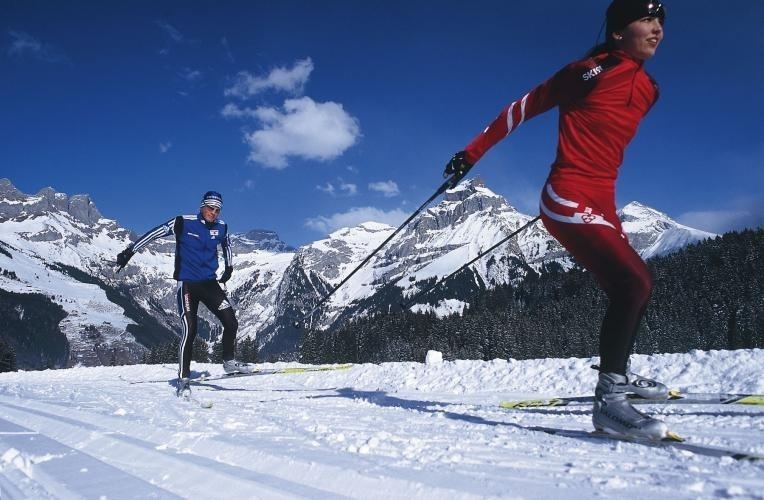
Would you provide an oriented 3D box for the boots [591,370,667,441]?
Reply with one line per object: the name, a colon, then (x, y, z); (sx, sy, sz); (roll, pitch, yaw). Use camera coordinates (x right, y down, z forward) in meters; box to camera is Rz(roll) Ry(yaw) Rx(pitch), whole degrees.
boots: (2.877, 1.834, 7.413); (0.342, 0.756, 0.965); (4, -2, -30)
